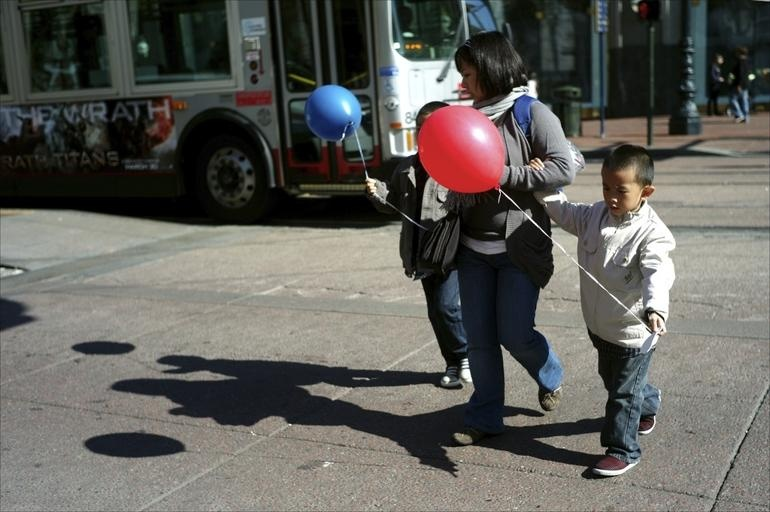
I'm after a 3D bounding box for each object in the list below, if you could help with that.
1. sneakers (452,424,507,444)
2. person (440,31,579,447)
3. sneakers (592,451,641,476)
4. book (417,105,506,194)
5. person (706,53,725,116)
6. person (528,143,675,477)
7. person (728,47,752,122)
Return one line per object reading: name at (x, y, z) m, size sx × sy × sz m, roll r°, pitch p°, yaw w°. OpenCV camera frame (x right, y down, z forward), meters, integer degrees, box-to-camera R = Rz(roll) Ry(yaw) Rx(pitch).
sneakers at (0.729, 1.347, 6.885) m, size 0.419 × 0.190 × 0.147 m, roll -1°, pitch 17°, yaw -10°
person at (0.847, -0.144, 6.836) m, size 1.094 × 3.064 × 1.118 m, roll 0°, pitch 2°, yaw 6°
sneakers at (1.685, 1.485, 6.503) m, size 0.370 × 0.149 × 0.127 m, roll -2°, pitch -4°, yaw -8°
book at (0.534, -0.758, 6.362) m, size 0.595 × 0.585 × 0.239 m, roll -2°, pitch 12°, yaw 4°
person at (3.877, -2.014, 10.616) m, size 0.166 × 0.744 × 0.884 m, roll 2°, pitch 14°, yaw 19°
person at (1.585, 0.396, 6.384) m, size 0.840 × 2.304 × 0.571 m, roll 5°, pitch 14°, yaw 33°
person at (4.040, -1.930, 10.267) m, size 0.205 × 0.862 × 0.498 m, roll 2°, pitch 13°, yaw 22°
